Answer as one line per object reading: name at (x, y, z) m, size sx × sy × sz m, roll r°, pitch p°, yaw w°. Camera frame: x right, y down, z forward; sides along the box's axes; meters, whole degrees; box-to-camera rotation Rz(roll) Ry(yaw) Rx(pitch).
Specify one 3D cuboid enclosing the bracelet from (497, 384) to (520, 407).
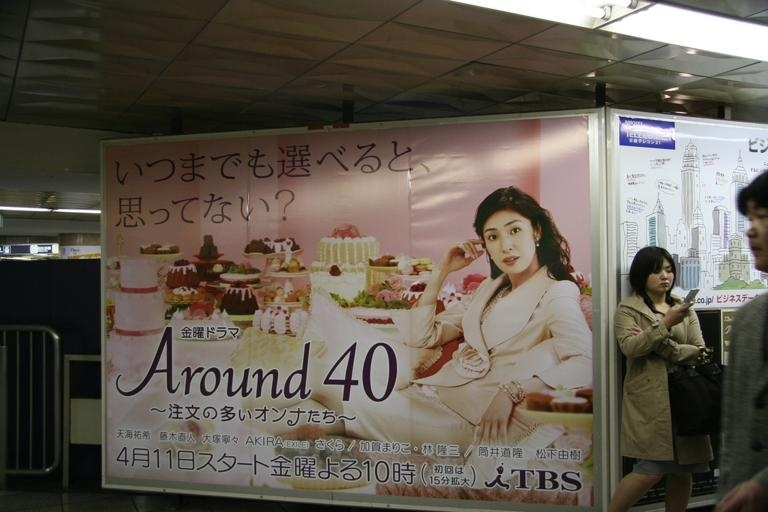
bracelet at (1.153, 1.267, 5.722) m, size 0.153 × 0.184 × 0.067 m, roll -28°, pitch -20°, yaw -33°

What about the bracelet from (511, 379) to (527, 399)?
bracelet at (1.235, 1.223, 5.729) m, size 0.126 × 0.152 × 0.063 m, roll -23°, pitch -10°, yaw 12°

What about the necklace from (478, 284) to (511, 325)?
necklace at (1.011, 0.428, 5.732) m, size 0.380 × 0.081 × 0.224 m, roll -51°, pitch -28°, yaw 0°
